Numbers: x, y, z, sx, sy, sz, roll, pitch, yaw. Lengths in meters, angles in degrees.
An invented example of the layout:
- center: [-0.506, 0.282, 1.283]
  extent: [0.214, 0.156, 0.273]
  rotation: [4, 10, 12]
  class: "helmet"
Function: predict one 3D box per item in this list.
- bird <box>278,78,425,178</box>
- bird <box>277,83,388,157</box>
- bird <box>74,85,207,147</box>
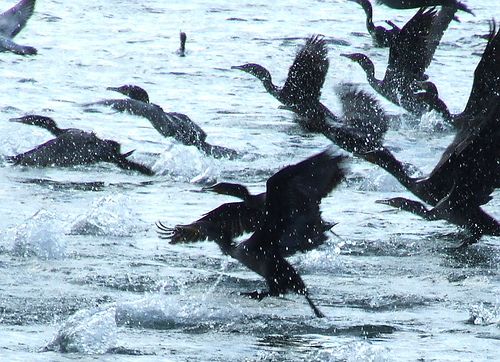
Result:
- center: [1.738, -0.549, 22.657]
  extent: [1.760, 0.718, 1.460]
  rotation: [2, 22, -38]
  class: "bird"
- center: [1.588, -0.885, 22.600]
  extent: [1.533, 0.982, 1.535]
  rotation: [-23, 8, 38]
  class: "bird"
- center: [-1.830, -1.197, 25.880]
  extent: [1.578, 0.657, 1.921]
  rotation: [5, -1, 8]
  class: "bird"
